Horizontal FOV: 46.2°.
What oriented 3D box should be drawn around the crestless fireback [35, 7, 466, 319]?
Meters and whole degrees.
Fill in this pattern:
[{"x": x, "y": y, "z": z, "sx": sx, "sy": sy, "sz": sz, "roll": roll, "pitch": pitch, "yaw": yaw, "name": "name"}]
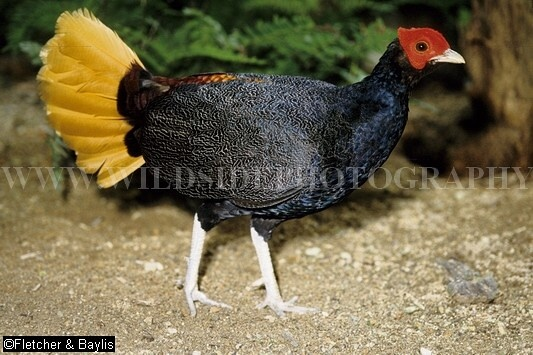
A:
[{"x": -0.024, "y": -0.368, "z": 5.356, "sx": 3.522, "sy": 1.609, "sz": 1.279, "roll": 7, "pitch": 35, "yaw": 12, "name": "crestless fireback"}]
